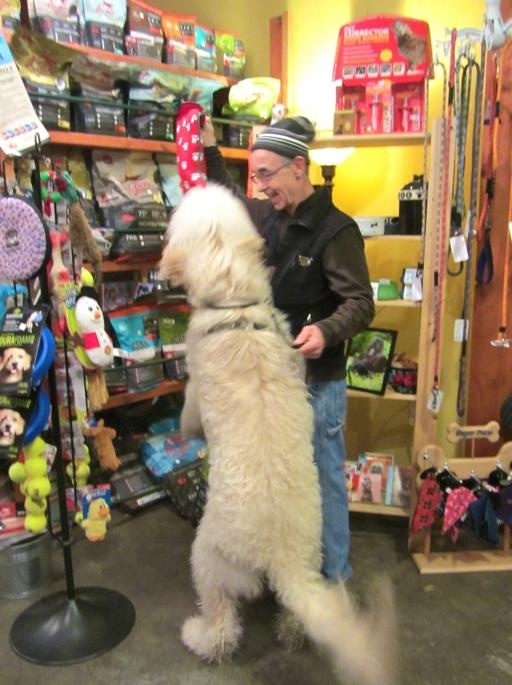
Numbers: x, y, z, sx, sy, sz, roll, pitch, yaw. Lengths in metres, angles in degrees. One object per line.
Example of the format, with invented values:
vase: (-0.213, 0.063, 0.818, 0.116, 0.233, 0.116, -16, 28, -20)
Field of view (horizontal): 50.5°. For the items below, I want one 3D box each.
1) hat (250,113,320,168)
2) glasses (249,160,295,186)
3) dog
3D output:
hat: (0.089, -0.639, 1.659, 0.175, 0.140, 0.134, -12, 34, -14)
glasses: (0.054, -0.518, 1.630, 0.077, 0.025, 0.075, -35, 22, -24)
dog: (0.061, 0.154, 1.265, 0.620, 1.047, 0.275, 7, 9, 42)
